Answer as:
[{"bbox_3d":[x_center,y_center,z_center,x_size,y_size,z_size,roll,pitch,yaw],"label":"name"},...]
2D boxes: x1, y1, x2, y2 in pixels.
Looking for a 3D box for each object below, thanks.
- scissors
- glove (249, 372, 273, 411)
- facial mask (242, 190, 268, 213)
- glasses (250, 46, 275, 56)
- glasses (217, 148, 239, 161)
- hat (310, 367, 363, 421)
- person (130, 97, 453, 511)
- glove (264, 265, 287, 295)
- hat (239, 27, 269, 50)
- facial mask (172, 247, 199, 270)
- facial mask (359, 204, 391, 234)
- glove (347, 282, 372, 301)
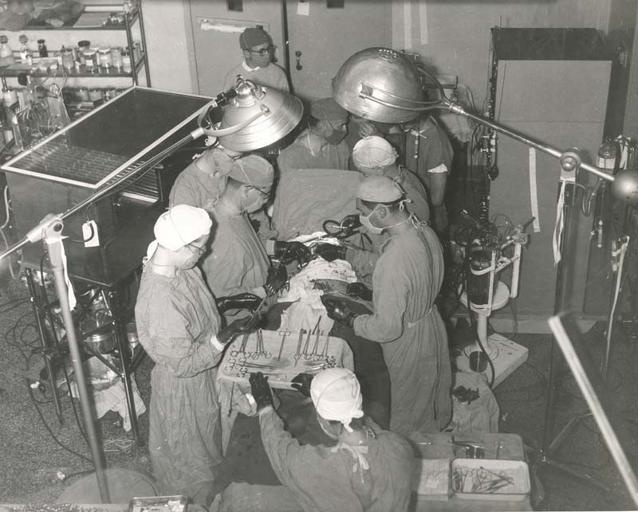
[{"bbox_3d":[-0.220,0.577,4.109,0.468,0.083,0.282,0,43,1],"label":"scissors"},{"bbox_3d":[-0.337,0.777,3.923,0.099,0.260,0.095,-5,25,-15],"label":"glove"},{"bbox_3d":[-0.441,-0.362,4.612,0.136,0.154,0.119,30,14,-6],"label":"facial mask"},{"bbox_3d":[-0.549,-1.880,6.291,0.147,0.043,0.144,5,25,21],"label":"glasses"},{"bbox_3d":[-0.635,-0.717,4.794,0.103,0.101,0.102,0,24,3],"label":"glasses"},{"bbox_3d":[0.103,0.764,3.643,0.214,0.216,0.278,-13,38,-12],"label":"hat"},{"bbox_3d":[-0.212,0.354,4.372,0.948,2.694,1.313,-6,40,-11],"label":"person"},{"bbox_3d":[-0.302,0.168,4.801,0.120,0.099,0.194,13,61,17],"label":"glove"},{"bbox_3d":[-0.596,-1.986,6.335,0.260,0.217,0.186,15,36,15],"label":"hat"},{"bbox_3d":[-0.743,0.012,3.910,0.135,0.101,0.109,37,30,19],"label":"facial mask"},{"bbox_3d":[0.364,-0.238,4.425,0.154,0.125,0.151,-15,35,-21],"label":"facial mask"},{"bbox_3d":[0.283,0.250,4.802,0.148,0.044,0.108,11,12,-24],"label":"glove"}]
